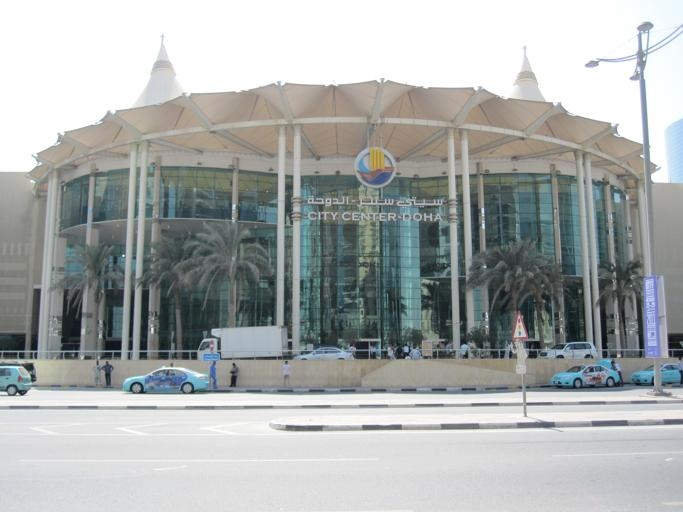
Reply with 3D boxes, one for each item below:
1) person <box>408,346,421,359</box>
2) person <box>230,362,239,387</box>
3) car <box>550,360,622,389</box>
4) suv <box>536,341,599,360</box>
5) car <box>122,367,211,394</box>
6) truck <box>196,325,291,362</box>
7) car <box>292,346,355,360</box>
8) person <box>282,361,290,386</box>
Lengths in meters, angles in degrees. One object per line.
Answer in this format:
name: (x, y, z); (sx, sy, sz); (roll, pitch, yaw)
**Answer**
person: (5.209, 6.953, 52.520); (1.171, 0.929, 1.851); (-3, -8, 10)
person: (-6.018, 6.747, 41.807); (0.500, 1.395, 1.468); (-1, -9, -8)
car: (13.525, 6.636, 41.167); (3.360, 0.929, 1.481); (5, -14, -14)
suv: (14.892, 6.245, 48.167); (3.161, 0.905, 1.577); (3, -10, -12)
car: (-8.999, 6.507, 37.955); (3.790, 1.015, 1.605); (2, -10, -3)
truck: (-6.892, 5.660, 47.580); (6.887, 2.464, 2.128); (-1, -6, 4)
car: (-0.983, 6.418, 48.268); (2.835, 0.790, 1.204); (2, -12, -4)
person: (-3.087, 6.591, 41.449); (0.427, 1.413, 1.397); (-1, -9, -5)
